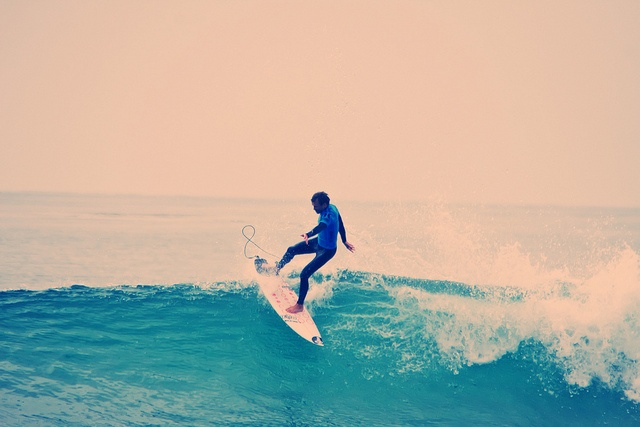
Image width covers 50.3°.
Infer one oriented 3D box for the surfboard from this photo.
[{"bbox_3d":[-1.182,2.962,23.184,1.039,0.581,4.827,-8,35,-28],"label":"surfboard"}]
